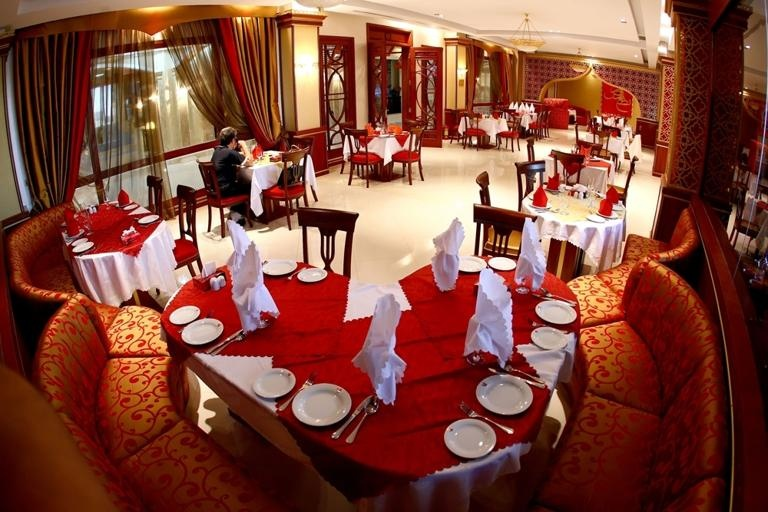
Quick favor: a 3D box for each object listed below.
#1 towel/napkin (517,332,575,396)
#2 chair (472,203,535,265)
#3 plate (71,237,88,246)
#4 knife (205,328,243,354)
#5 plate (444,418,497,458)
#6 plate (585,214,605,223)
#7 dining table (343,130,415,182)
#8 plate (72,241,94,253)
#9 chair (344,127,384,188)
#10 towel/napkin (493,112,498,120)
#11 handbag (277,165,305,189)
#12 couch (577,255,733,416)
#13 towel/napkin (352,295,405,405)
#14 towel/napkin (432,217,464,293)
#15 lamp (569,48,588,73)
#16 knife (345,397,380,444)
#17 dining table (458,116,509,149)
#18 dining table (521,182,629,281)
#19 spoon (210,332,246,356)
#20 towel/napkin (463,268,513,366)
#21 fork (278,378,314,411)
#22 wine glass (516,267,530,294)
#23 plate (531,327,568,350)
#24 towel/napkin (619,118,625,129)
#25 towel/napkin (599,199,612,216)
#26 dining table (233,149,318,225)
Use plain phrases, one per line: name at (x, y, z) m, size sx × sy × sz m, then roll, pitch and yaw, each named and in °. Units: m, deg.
towel/napkin at (1.006, 0.607, 3.057) m, size 0.284 × 0.142 × 0.294 m, roll 24°, pitch 44°, yaw 34°
chair at (1.044, -0.193, 4.372) m, size 0.398 × 0.460 × 0.702 m, roll 9°, pitch -13°, yaw 12°
plate at (-2.744, -0.138, 4.545) m, size 0.072 × 0.020 × 0.080 m, roll 12°, pitch 27°, yaw 16°
knife at (-0.985, 0.535, 3.138) m, size 0.079 × 0.035 × 0.314 m, roll 19°, pitch 30°, yaw 19°
plate at (0.449, 0.948, 2.623) m, size 0.273 × 0.103 × 0.188 m, roll -9°, pitch 18°, yaw -14°
plate at (2.079, -0.374, 4.923) m, size 0.169 × 0.040 × 0.208 m, roll 8°, pitch 22°, yaw 32°
dining table at (-0.094, -1.932, 9.101) m, size 1.054 × 1.144 × 0.955 m, roll 20°, pitch 38°, yaw 30°
plate at (-2.651, -0.083, 4.441) m, size 0.155 × 0.047 × 0.197 m, roll -8°, pitch 19°, yaw -11°
chair at (-0.345, -1.796, 9.072) m, size 0.678 × 1.073 × 0.754 m, roll 14°, pitch 35°, yaw 23°
towel/napkin at (2.800, -3.538, 12.564) m, size 0.152 × 0.164 × 0.046 m, roll -3°, pitch -3°, yaw -30°
handbag at (-1.320, -1.196, 7.098) m, size 0.278 × 0.306 × 0.401 m, roll 16°, pitch 34°, yaw 10°
couch at (1.873, 0.562, 3.445) m, size 0.290 × 0.387 × 0.882 m, roll 9°, pitch 31°, yaw 8°
towel/napkin at (-0.024, 0.504, 2.758) m, size 0.293 × 0.593 × 0.203 m, roll -6°, pitch 16°, yaw -7°
towel/napkin at (0.478, -0.025, 3.569) m, size 0.323 × 0.497 × 0.160 m, roll -21°, pitch 19°, yaw -39°
lamp at (6.342, -6.431, 16.356) m, size 0.417 × 0.656 × 0.466 m, roll -9°, pitch 37°, yaw 6°
knife at (-0.107, 0.864, 2.690) m, size 0.075 × 0.047 × 0.356 m, roll 6°, pitch 42°, yaw 22°
dining table at (2.448, -3.168, 12.638) m, size 1.175 × 0.792 × 1.199 m, roll -2°, pitch 18°, yaw 7°
dining table at (1.936, -0.069, 5.335) m, size 0.935 × 0.584 × 0.964 m, roll 28°, pitch 50°, yaw 29°
spoon at (-0.969, 0.530, 3.150) m, size 0.077 × 0.034 × 0.304 m, roll 21°, pitch 28°, yaw 15°
towel/napkin at (0.625, 0.386, 3.023) m, size 0.270 × 0.591 × 0.353 m, roll 7°, pitch 20°, yaw 24°
fork at (-0.491, 0.779, 2.822) m, size 0.026 × 0.030 × 0.208 m, roll 21°, pitch 43°, yaw 20°
wine glass at (0.980, 0.167, 3.558) m, size 0.094 × 0.165 × 0.100 m, roll -15°, pitch 32°, yaw 15°
plate at (1.041, 0.510, 3.148) m, size 0.133 × 0.020 × 0.146 m, roll 10°, pitch 41°, yaw 16°
towel/napkin at (5.797, -3.246, 12.241) m, size 0.114 × 0.095 × 1.691 m, roll 4°, pitch 20°, yaw 24°
towel/napkin at (2.213, -0.503, 5.015) m, size 0.142 × 0.180 × 0.148 m, roll 7°, pitch 31°, yaw 22°
dining table at (-1.582, -1.079, 6.953) m, size 0.874 × 0.525 × 0.893 m, roll -24°, pitch 45°, yaw -29°
